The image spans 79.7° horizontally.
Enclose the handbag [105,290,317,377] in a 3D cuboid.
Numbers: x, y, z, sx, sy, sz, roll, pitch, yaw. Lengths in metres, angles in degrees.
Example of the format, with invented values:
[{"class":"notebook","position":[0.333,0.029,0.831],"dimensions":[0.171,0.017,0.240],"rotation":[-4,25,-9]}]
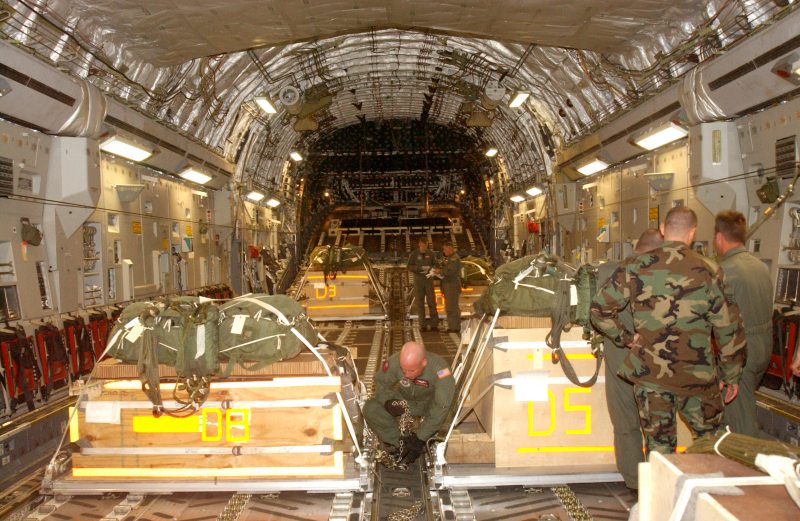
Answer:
[{"class":"handbag","position":[-2.119,0.823,5.522],"dimensions":[1.584,0.516,1.219],"rotation":[-2,5,5]}]

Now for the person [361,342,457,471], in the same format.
[{"class":"person","position":[0.098,1.961,6.220],"dimensions":[0.867,0.991,1.330],"rotation":[25,-24,3]}]

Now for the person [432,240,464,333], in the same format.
[{"class":"person","position":[1.322,0.743,12.839],"dimensions":[0.566,2.571,0.780],"rotation":[-2,15,1]}]

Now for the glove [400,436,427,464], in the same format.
[{"class":"glove","position":[0.131,2.341,6.016],"dimensions":[0.244,0.435,0.123],"rotation":[36,32,-9]}]

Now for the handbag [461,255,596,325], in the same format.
[{"class":"handbag","position":[1.742,0.369,5.869],"dimensions":[1.143,0.477,0.896],"rotation":[-2,3,5]}]
